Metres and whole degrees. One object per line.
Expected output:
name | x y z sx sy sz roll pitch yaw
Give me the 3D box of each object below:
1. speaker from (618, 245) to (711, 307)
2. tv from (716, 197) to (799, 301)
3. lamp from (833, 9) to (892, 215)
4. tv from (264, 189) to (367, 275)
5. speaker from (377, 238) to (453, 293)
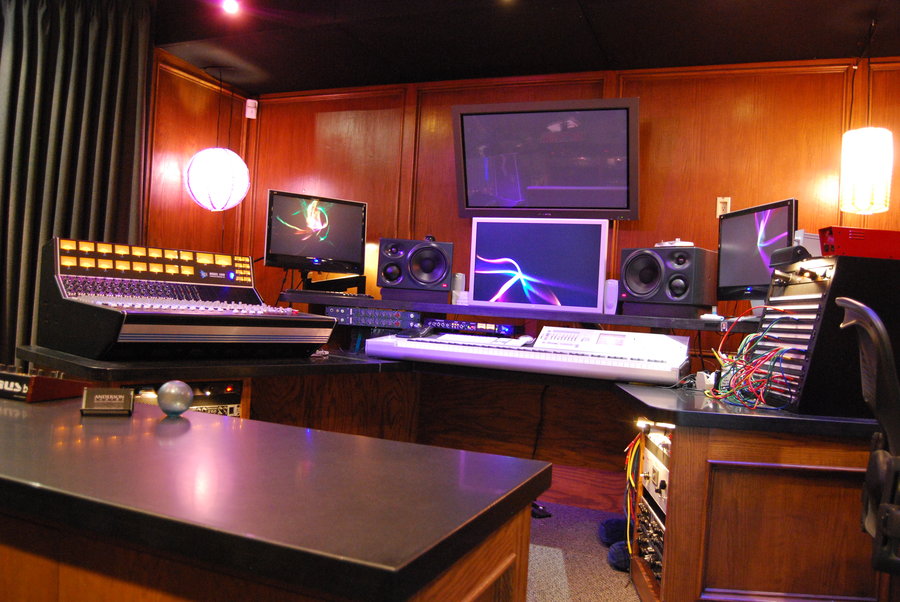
speaker | 1.083 -0.117 3.285 0.304 0.216 0.327 2 0 42
tv | 1.447 -0.230 3.260 0.042 0.465 0.463 7 -5 -21
lamp | 2.302 -1.009 3.770 0.265 1.051 0.483 3 6 29
tv | -0.732 -0.378 3.767 0.613 0.476 0.081 2 0 -24
speaker | -0.162 -0.216 3.552 0.385 0.272 0.228 6 18 8
